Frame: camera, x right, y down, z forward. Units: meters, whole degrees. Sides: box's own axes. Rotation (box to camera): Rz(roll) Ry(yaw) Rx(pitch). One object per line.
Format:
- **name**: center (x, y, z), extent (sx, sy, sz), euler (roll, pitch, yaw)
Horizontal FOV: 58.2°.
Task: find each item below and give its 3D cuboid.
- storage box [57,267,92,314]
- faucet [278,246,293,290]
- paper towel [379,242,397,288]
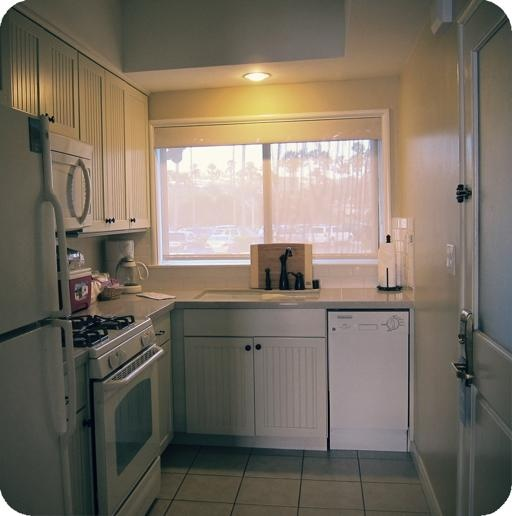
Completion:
- **storage box**: center (-0.846, 0.149, 2.145), extent (0.118, 0.186, 0.234), euler (-1, 1, 10)
- **faucet**: center (0.211, 0.077, 3.212), extent (0.097, 0.287, 0.089), euler (-1, 4, 5)
- **paper towel**: center (0.865, 0.050, 3.024), extent (0.107, 0.293, 0.092), euler (0, 4, 12)
